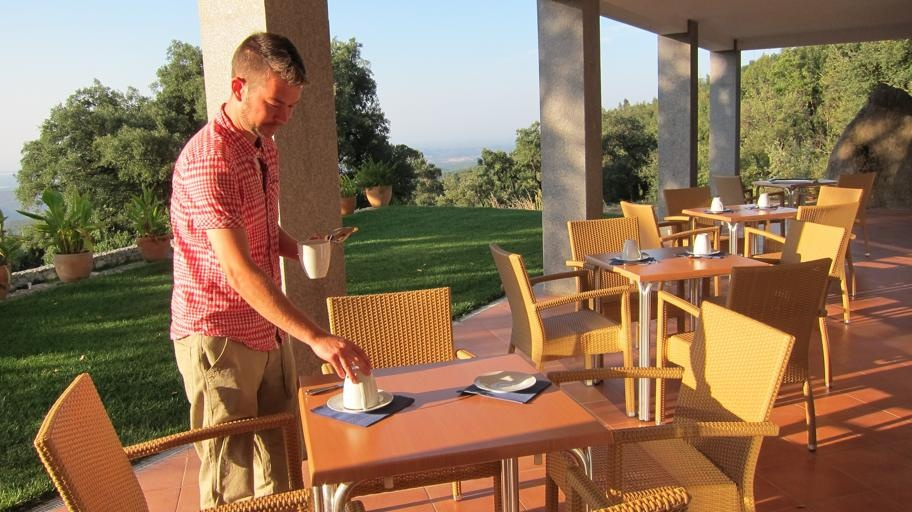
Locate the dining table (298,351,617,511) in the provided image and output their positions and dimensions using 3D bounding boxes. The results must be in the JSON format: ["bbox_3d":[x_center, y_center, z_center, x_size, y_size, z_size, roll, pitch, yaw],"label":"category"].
[{"bbox_3d":[-0.120,1.036,3.670,1.400,1.096,1.031,-5,17,-14],"label":"dining table"}]

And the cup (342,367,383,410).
[{"bbox_3d":[-0.575,0.814,3.786,0.225,0.215,0.322,-6,11,-11],"label":"cup"}]

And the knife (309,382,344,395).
[{"bbox_3d":[-0.809,0.837,3.939,0.233,0.024,0.031,-11,47,-17],"label":"knife"}]

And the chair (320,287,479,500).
[{"bbox_3d":[-0.538,0.974,5.309,1.519,1.853,1.354,-3,4,-17],"label":"chair"}]

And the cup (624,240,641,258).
[{"bbox_3d":[1.603,-0.064,5.678,0.148,0.167,0.197,-3,13,15],"label":"cup"}]

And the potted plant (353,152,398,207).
[{"bbox_3d":[-2.221,-2.048,18.096,1.117,1.268,0.982,-7,9,-29],"label":"potted plant"}]

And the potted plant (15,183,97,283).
[{"bbox_3d":[-6.593,-0.283,10.888,1.324,1.454,0.981,-4,8,4],"label":"potted plant"}]

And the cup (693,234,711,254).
[{"bbox_3d":[2.290,-0.116,5.797,0.161,0.158,0.169,-2,7,0],"label":"cup"}]

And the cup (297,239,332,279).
[{"bbox_3d":[-0.914,0.014,4.146,0.248,0.248,0.234,-1,11,0],"label":"cup"}]

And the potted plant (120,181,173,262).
[{"bbox_3d":[-5.908,-0.557,12.197,0.810,1.276,0.926,-1,7,17],"label":"potted plant"}]
